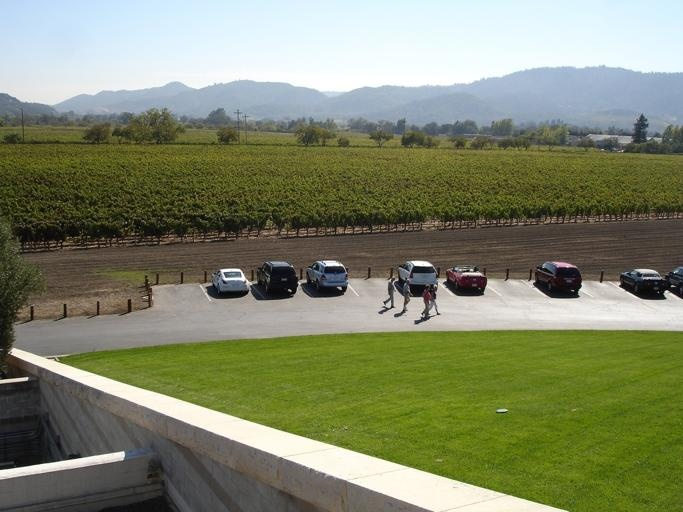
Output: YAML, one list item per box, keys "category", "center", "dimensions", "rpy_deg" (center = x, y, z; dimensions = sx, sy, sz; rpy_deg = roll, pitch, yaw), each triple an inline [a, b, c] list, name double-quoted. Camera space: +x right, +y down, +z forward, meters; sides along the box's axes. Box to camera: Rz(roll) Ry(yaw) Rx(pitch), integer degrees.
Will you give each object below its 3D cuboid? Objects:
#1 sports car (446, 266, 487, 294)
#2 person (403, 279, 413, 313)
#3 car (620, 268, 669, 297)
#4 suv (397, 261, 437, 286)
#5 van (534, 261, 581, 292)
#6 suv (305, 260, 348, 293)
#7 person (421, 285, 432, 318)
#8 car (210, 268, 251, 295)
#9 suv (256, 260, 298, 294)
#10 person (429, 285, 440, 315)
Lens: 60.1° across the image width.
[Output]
- category: "sports car"
  center: [6.725, 1.238, 32.810]
  dimensions: [1.073, 0.830, 2.337]
  rpy_deg: [2, 12, -4]
- category: "person"
  center: [3.236, 1.989, 28.933]
  dimensions: [0.485, 1.569, 0.541]
  rpy_deg: [-9, 36, -11]
- category: "car"
  center: [16.923, 1.403, 33.254]
  dimensions: [1.258, 1.269, 2.376]
  rpy_deg: [-1, 10, -8]
- category: "suv"
  center: [4.057, 0.919, 32.473]
  dimensions: [1.126, 1.039, 2.094]
  rpy_deg: [0, 12, -6]
- category: "van"
  center: [12.105, 1.171, 33.170]
  dimensions: [1.470, 1.559, 2.629]
  rpy_deg: [-1, 10, -7]
- category: "suv"
  center: [-0.889, 1.005, 32.117]
  dimensions: [1.136, 1.055, 2.580]
  rpy_deg: [0, 8, -13]
- category: "person"
  center: [3.791, 2.009, 26.339]
  dimensions: [0.393, 1.352, 1.288]
  rpy_deg: [2, 10, 9]
- category: "car"
  center: [-5.857, 1.325, 31.110]
  dimensions: [1.496, 1.248, 2.035]
  rpy_deg: [-4, 11, -25]
- category: "suv"
  center: [-3.480, 1.001, 31.415]
  dimensions: [1.181, 1.136, 2.545]
  rpy_deg: [0, 11, -15]
- category: "person"
  center: [4.288, 2.064, 27.523]
  dimensions: [0.696, 1.486, 0.400]
  rpy_deg: [-1, 39, 10]
